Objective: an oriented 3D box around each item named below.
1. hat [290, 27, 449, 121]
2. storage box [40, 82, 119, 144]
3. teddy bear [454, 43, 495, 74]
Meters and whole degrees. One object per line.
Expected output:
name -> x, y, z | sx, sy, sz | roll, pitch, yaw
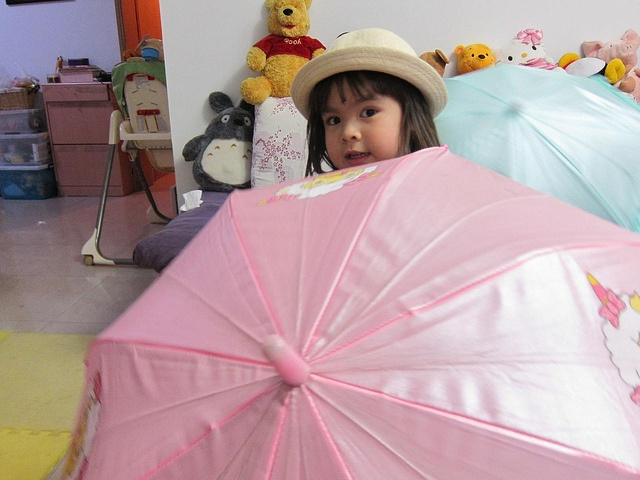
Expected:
hat -> 0.125, -0.403, 1.135 | 0.234, 0.278, 0.099 | 6, 56, -11
storage box -> -2.008, -1.036, 4.174 | 0.616, 0.688, 0.488 | -1, 15, 0
teddy bear -> 0.645, -0.729, 1.959 | 0.142, 0.159, 0.155 | -6, 18, -3
